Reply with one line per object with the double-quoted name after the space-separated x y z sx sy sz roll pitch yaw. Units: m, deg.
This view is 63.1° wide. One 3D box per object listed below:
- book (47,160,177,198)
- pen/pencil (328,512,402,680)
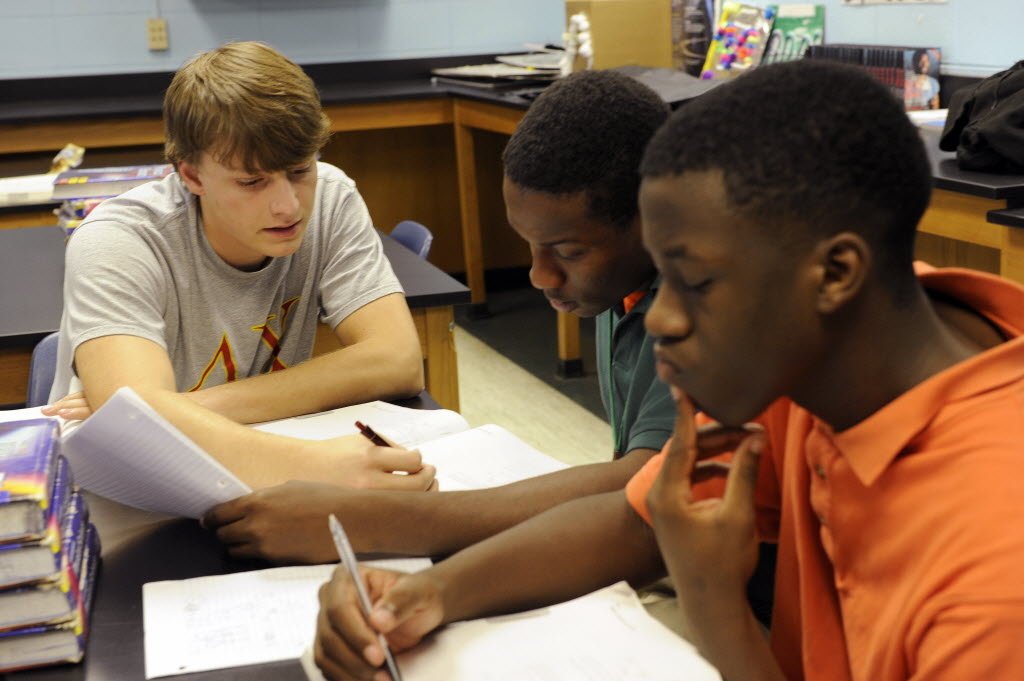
-1.224 -0.493 2.527 0.337 0.074 0.342 -7 15 -10 "book"
-0.182 0.322 1.026 0.021 0.197 0.020 -21 -5 -10 "pen/pencil"
